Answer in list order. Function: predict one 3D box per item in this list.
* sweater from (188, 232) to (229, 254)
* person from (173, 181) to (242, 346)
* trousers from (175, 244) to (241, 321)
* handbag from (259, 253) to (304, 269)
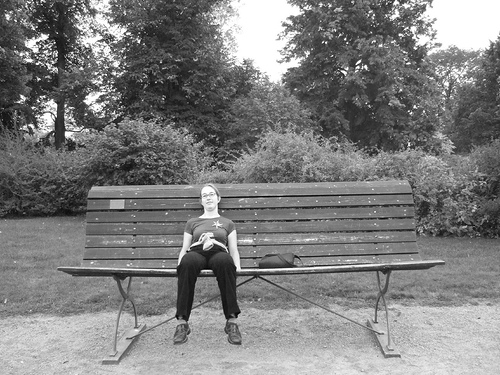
[{"bbox_3d":[-0.526,0.729,6.772,0.287,0.192,0.392,9,-4,-28],"label":"sweater"},{"bbox_3d":[-0.577,1.056,6.865,0.928,1.949,1.120,0,14,-1],"label":"person"},{"bbox_3d":[-0.560,1.323,6.806,0.821,1.033,0.825,3,-9,4],"label":"trousers"},{"bbox_3d":[0.409,1.011,6.776,0.376,0.136,0.302,1,-15,0],"label":"handbag"}]
